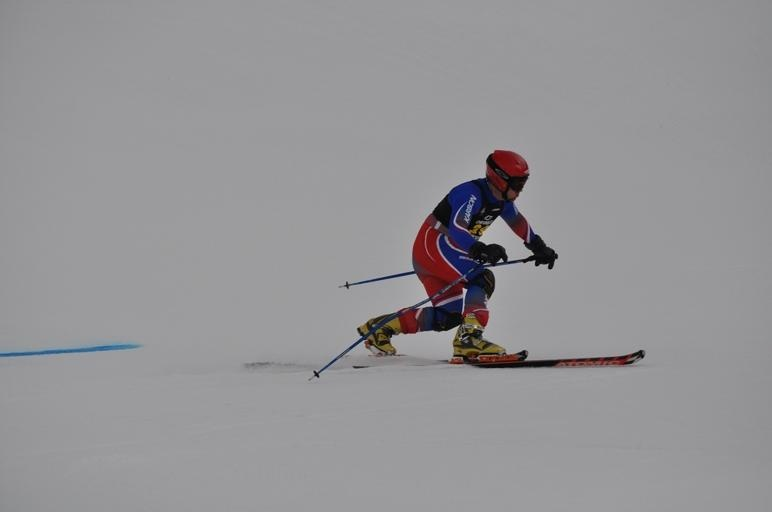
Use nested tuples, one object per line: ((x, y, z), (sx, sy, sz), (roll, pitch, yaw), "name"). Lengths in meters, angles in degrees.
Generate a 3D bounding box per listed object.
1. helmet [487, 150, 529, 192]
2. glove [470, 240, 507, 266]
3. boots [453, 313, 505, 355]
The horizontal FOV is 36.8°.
((1.132, -0.772, 10.698), (0.328, 0.374, 0.402), (8, -1, -18), "helmet")
((0.855, -0.020, 9.851), (0.265, 0.106, 0.202), (22, -29, 29), "glove")
((0.870, 0.751, 10.810), (0.205, 0.526, 0.593), (6, -3, -44), "boots")
